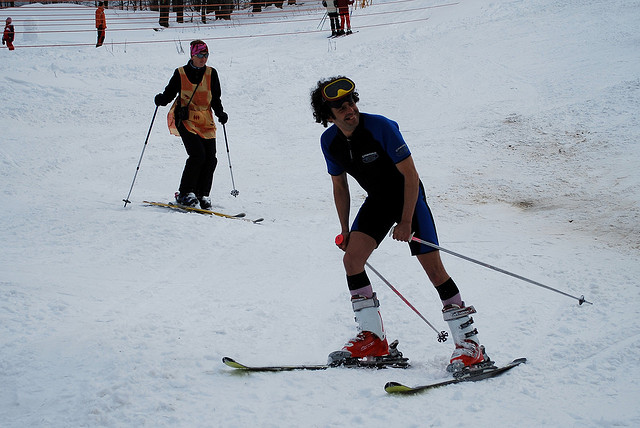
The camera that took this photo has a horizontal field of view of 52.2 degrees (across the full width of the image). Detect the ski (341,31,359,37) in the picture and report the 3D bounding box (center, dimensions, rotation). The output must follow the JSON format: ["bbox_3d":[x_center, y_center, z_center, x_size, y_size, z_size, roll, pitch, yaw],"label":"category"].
[{"bbox_3d":[1.071,-6.168,22.285,0.220,0.173,0.772,7,15,32],"label":"ski"}]

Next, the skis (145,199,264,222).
[{"bbox_3d":[-1.918,-0.061,10.530,1.674,0.111,0.211,7,-2,-9],"label":"skis"}]

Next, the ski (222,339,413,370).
[{"bbox_3d":[-0.074,1.625,7.404,2.062,0.220,0.223,1,0,-14],"label":"ski"}]

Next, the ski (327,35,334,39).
[{"bbox_3d":[0.333,-5.987,22.046,0.148,0.103,0.475,1,20,9],"label":"ski"}]

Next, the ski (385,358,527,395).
[{"bbox_3d":[1.513,1.812,7.307,1.297,0.091,0.128,-11,6,-12],"label":"ski"}]

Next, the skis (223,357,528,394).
[{"bbox_3d":[0.618,1.805,7.312,2.898,0.171,0.268,-2,-7,-4],"label":"skis"}]

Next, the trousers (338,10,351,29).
[{"bbox_3d":[0.793,-6.638,22.350,0.355,0.642,0.794,0,14,4],"label":"trousers"}]

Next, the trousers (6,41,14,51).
[{"bbox_3d":[-9.190,-5.040,19.479,0.159,0.301,1.573,-8,14,-24],"label":"trousers"}]

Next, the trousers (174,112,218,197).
[{"bbox_3d":[-1.996,-0.966,10.596,0.656,1.400,0.367,-6,16,-15],"label":"trousers"}]

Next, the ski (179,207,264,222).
[{"bbox_3d":[-1.623,0.003,10.476,0.766,0.071,0.071,14,4,-18],"label":"ski"}]

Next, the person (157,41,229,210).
[{"bbox_3d":[-2.036,-1.406,10.535,0.508,2.655,0.791,12,20,40],"label":"person"}]

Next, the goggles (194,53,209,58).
[{"bbox_3d":[-1.818,-2.482,10.199,0.214,0.066,0.109,-13,18,-43],"label":"goggles"}]

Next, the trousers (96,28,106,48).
[{"bbox_3d":[-6.941,-5.624,20.748,0.300,0.620,1.428,-6,14,-16],"label":"trousers"}]

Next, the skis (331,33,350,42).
[{"bbox_3d":[0.655,-5.961,21.969,0.063,0.186,0.823,24,-19,-38],"label":"skis"}]
